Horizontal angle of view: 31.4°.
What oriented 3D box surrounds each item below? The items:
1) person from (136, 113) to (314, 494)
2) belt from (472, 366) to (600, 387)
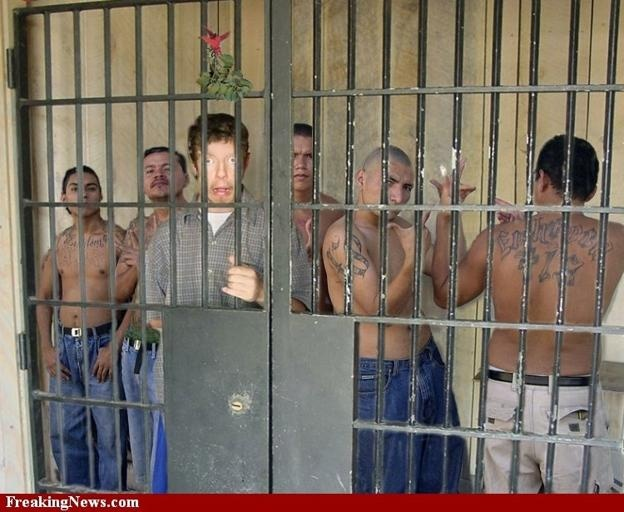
[{"bbox_3d":[-0.433,0.205,5.590,0.828,1.930,1.122,2,-2,-8],"label":"person"},{"bbox_3d":[1.155,0.633,5.790,0.522,0.075,0.219,1,-2,31],"label":"belt"}]
